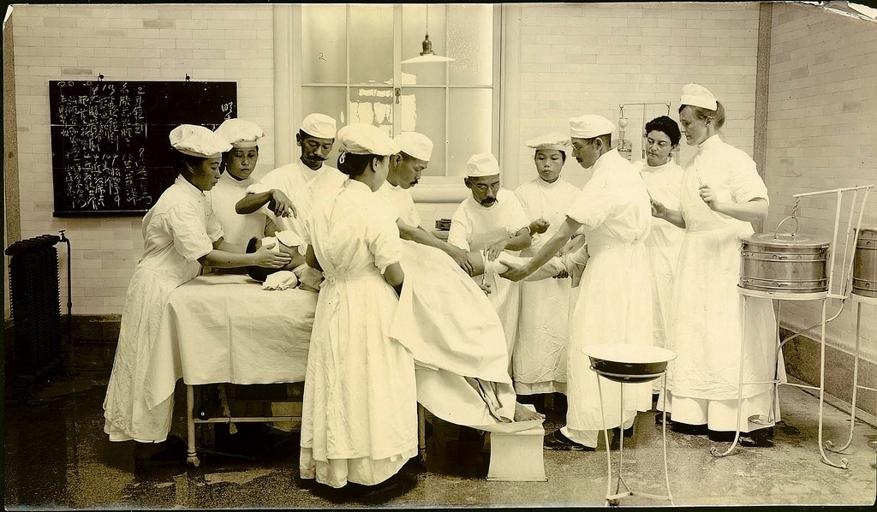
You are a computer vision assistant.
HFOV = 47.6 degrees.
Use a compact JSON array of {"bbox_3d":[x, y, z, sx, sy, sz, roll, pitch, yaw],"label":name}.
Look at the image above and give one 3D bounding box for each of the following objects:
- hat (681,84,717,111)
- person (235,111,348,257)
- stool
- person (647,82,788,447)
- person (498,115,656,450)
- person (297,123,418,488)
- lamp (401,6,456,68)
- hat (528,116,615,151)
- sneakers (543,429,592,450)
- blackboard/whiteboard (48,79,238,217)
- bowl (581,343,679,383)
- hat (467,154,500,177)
[{"bbox_3d":[2.309,-1.410,8.747,0.307,0.149,0.207,6,2,-7],"label":"hat"},{"bbox_3d":[-1.298,-0.598,8.702,1.399,1.361,0.800,-1,7,-22],"label":"person"},{"bbox_3d":[0.633,1.636,8.249,0.507,0.450,0.766,-1,0,1],"label":"stool"},{"bbox_3d":[2.456,0.070,8.654,1.038,3.136,0.654,2,10,19],"label":"person"},{"bbox_3d":[1.360,0.225,8.623,1.047,2.893,0.899,0,10,9],"label":"person"},{"bbox_3d":[-0.678,0.399,8.001,0.927,2.919,0.531,-2,10,-6],"label":"person"},{"bbox_3d":[-0.244,-2.075,9.360,0.576,0.539,0.526,7,17,32],"label":"lamp"},{"bbox_3d":[1.183,-1.105,8.695,0.499,0.140,0.442,-4,5,22],"label":"hat"},{"bbox_3d":[1.166,1.628,8.695,0.465,0.173,0.154,-2,-6,13],"label":"sneakers"},{"bbox_3d":[-2.763,-1.003,9.110,1.463,0.998,0.059,-1,4,-6],"label":"blackboard/whiteboard"},{"bbox_3d":[1.525,0.873,7.933,0.711,0.262,0.395,1,10,9],"label":"bowl"},{"bbox_3d":[0.381,-0.806,8.733,0.236,0.137,0.232,1,7,16],"label":"hat"}]
